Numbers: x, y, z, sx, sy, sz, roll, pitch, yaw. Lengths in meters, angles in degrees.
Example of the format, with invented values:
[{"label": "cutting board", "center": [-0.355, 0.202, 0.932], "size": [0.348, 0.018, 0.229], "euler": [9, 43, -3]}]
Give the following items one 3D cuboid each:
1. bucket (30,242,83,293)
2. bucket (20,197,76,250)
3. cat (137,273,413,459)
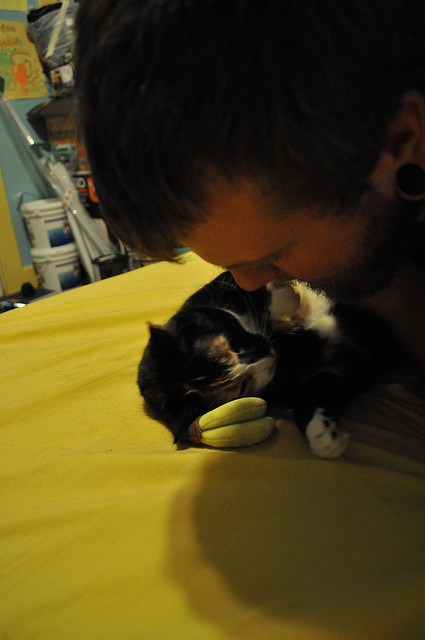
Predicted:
[{"label": "bucket", "center": [-0.786, -0.248, 2.702], "size": [0.274, 0.216, 0.254], "euler": [-6, 15, 2]}, {"label": "bucket", "center": [-0.804, -0.447, 2.583], "size": [0.238, 0.208, 0.227], "euler": [-4, 14, 1]}, {"label": "cat", "center": [0.192, 0.074, 1.016], "size": [0.519, 0.185, 0.369], "euler": [-27, 14, -15]}]
